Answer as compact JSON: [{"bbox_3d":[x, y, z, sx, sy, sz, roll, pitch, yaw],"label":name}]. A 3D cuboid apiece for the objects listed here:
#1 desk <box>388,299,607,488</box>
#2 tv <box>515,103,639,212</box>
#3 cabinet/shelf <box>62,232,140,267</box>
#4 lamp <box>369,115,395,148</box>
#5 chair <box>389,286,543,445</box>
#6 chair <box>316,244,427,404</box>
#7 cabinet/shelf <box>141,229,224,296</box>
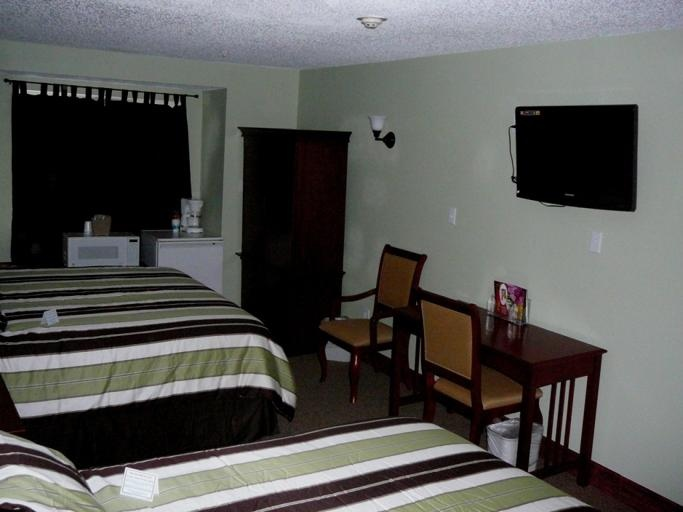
[{"bbox_3d":[1.061,0.973,4.005,0.691,1.073,1.432,-8,14,-30],"label":"desk"},{"bbox_3d":[1.510,-0.640,3.382,0.092,0.541,0.679,-10,13,-38],"label":"tv"},{"bbox_3d":[-2.551,-0.071,5.712,0.735,0.346,0.308,-4,9,-29],"label":"cabinet/shelf"},{"bbox_3d":[0.329,-1.170,5.049,0.241,0.304,0.359,-3,8,-23],"label":"lamp"},{"bbox_3d":[0.908,0.775,3.672,0.654,1.061,0.637,-6,8,-38],"label":"chair"},{"bbox_3d":[0.247,0.575,4.753,0.834,1.246,0.875,9,9,39],"label":"chair"},{"bbox_3d":[-1.719,-0.044,6.064,0.767,1.119,0.689,-3,4,-33],"label":"cabinet/shelf"}]
